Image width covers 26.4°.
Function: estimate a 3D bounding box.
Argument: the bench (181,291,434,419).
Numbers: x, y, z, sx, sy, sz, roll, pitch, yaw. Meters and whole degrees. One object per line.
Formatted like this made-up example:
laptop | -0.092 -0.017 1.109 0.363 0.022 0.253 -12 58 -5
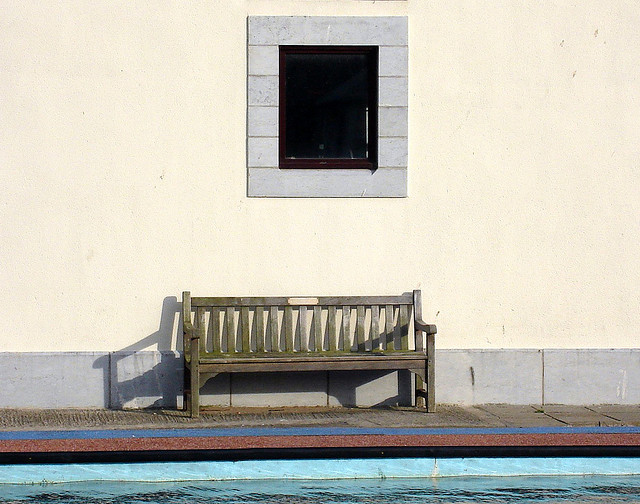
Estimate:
bench | -0.110 1.051 13.898 2.487 1.202 0.748 0 5 -14
